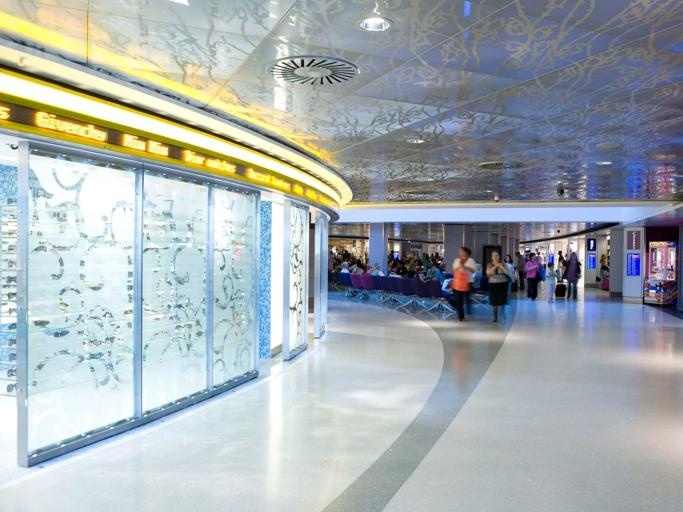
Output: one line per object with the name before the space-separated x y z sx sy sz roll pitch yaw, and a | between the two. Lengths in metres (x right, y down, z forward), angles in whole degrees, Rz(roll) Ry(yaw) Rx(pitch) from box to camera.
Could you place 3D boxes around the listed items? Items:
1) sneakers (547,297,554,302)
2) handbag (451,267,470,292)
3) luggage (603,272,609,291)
sneakers | 8.192 1.709 17.453 0.217 0.227 0.188 2 -4 -42
handbag | 2.951 0.653 11.925 0.755 0.568 0.613 0 -3 4
luggage | 14.571 1.412 24.625 0.241 0.870 0.580 2 1 21
